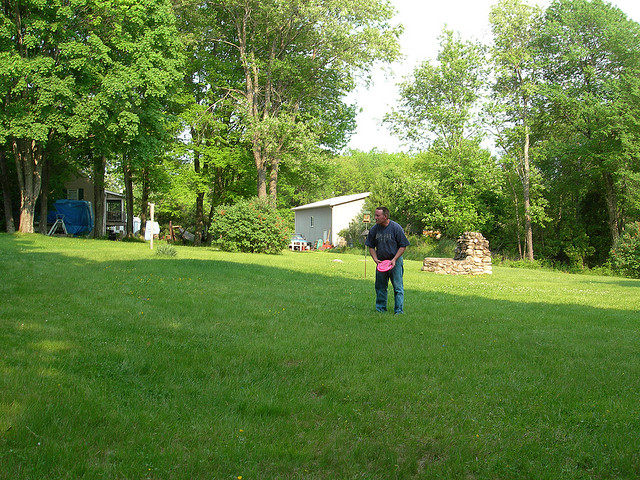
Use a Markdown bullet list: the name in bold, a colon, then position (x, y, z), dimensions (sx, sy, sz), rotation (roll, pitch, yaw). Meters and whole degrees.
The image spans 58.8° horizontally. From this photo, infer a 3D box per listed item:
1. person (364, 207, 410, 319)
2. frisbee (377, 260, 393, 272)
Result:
- **person**: position (1.612, 0.502, 13.721), dimensions (0.962, 2.602, 1.392), rotation (1, -1, 5)
- **frisbee**: position (1.537, 0.586, 13.428), dimensions (0.320, 0.257, 0.210), rotation (1, -1, 5)
